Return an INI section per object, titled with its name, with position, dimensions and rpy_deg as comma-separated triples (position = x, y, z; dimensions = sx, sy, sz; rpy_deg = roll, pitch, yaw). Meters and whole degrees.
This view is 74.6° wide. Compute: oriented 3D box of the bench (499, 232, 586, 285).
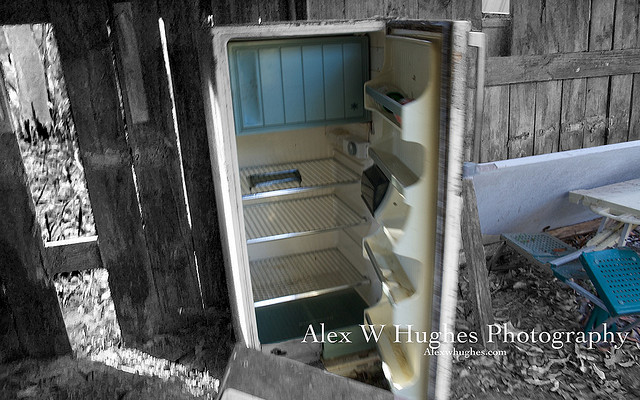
[bench]
position = 2.043, 0.452, 3.704
dimensions = 0.620, 0.090, 0.691
rpy_deg = -4, 30, -25

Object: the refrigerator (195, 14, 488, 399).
[refrigerator]
position = 0.072, 0.014, 2.823
dimensions = 1.431, 2.328, 1.814
rpy_deg = -14, 23, -16
